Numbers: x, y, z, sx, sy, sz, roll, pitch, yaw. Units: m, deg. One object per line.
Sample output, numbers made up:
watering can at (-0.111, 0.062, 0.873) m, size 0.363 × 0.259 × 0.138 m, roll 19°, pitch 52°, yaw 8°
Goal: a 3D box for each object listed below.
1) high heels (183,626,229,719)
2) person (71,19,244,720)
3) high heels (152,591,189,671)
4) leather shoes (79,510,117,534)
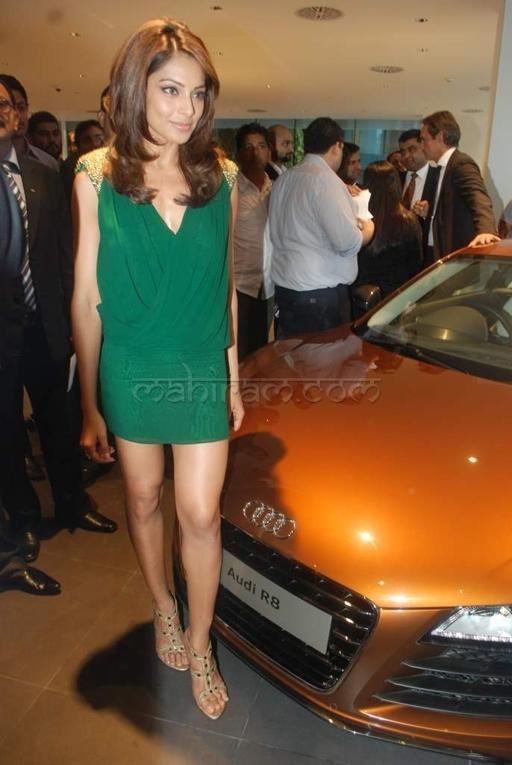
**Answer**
high heels at (-0.129, 0.651, 1.316) m, size 0.080 × 0.092 × 0.234 m, roll -9°, pitch 64°, yaw -19°
person at (-0.213, 0.055, 1.221) m, size 0.363 × 1.476 × 0.301 m, roll -1°, pitch 15°, yaw -2°
high heels at (-0.230, 0.643, 1.490) m, size 0.081 × 0.090 × 0.234 m, roll -5°, pitch 20°, yaw -12°
leather shoes at (-0.617, 0.546, 2.177) m, size 0.138 × 0.053 × 0.073 m, roll 6°, pitch 22°, yaw 18°
